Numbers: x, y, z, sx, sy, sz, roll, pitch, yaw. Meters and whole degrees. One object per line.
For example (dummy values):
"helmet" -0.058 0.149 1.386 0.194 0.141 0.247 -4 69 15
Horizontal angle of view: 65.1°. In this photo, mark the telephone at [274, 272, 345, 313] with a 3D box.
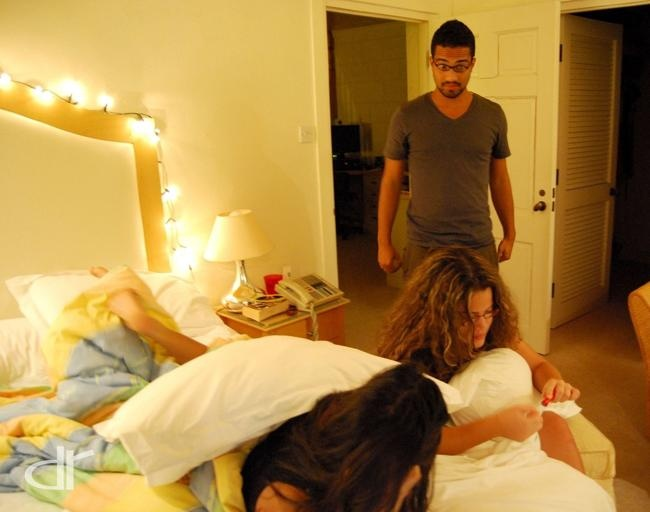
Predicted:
"telephone" -0.096 0.196 2.939 0.286 0.133 0.372 14 16 27

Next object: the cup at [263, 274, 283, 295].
"cup" -0.299 0.161 2.941 0.113 0.098 0.104 1 11 0

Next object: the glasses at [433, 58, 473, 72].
"glasses" 0.584 -0.870 2.328 0.160 0.061 0.059 -1 16 10

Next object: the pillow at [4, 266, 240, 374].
"pillow" -0.915 0.185 2.266 0.567 0.148 0.538 -9 30 -43

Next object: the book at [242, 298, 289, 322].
"book" -0.312 0.262 2.713 0.172 0.049 0.122 -16 17 -41
